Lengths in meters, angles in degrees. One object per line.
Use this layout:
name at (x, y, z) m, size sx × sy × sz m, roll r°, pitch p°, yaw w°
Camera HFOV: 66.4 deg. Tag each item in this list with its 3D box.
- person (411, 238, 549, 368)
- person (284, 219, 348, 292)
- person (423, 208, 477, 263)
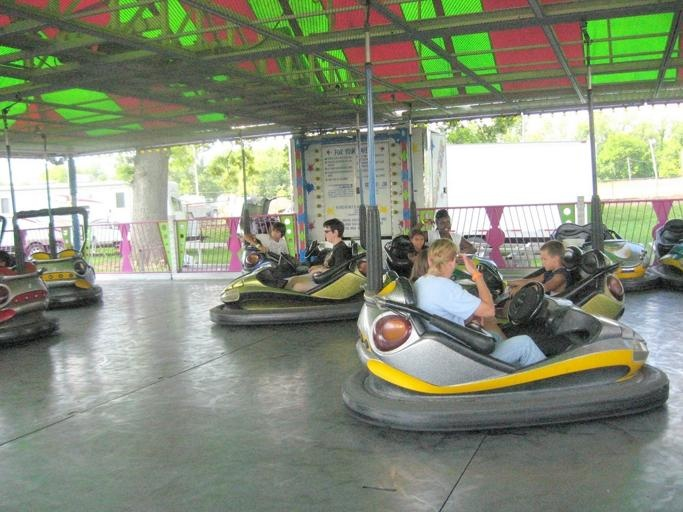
person at (0.711, 0.236, 2.860) m, size 0.648 × 0.663 × 0.605 m, roll -5°, pitch 8°, yaw 0°
person at (-0.185, 0.027, 5.497) m, size 0.806 × 0.682 × 0.484 m, roll -18°, pitch -16°, yaw 39°
person at (1.089, -0.239, 5.776) m, size 0.675 × 0.612 × 0.730 m, roll -4°, pitch 5°, yaw -22°
